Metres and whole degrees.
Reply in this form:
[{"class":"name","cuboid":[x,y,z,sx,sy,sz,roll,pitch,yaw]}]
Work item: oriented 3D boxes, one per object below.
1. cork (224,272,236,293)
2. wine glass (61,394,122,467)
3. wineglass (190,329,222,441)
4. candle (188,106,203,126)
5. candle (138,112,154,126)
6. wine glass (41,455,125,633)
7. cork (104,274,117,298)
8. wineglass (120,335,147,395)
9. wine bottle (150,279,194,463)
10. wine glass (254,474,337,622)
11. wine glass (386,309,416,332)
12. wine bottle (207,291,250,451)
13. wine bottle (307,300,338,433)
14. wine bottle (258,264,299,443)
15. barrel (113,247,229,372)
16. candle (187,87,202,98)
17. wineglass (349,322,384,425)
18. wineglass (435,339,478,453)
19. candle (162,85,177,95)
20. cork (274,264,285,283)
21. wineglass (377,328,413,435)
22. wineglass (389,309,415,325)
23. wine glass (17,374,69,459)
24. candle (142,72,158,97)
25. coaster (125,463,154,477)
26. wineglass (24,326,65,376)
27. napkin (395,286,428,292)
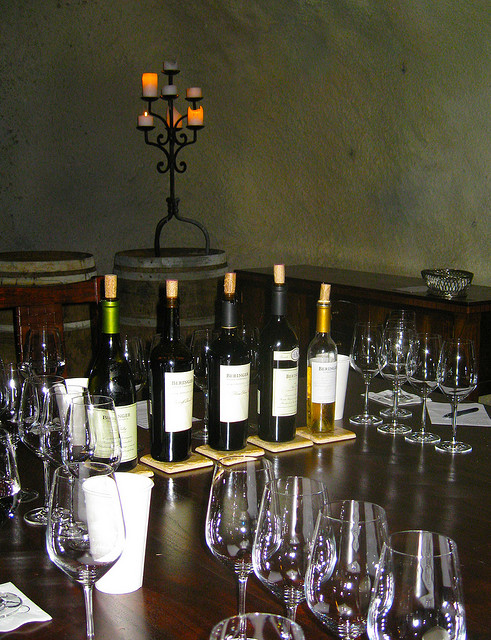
[{"class":"cork","cuboid":[-0.026,-0.063,1.028,0.016,0.034,0.043,1,1,4]},{"class":"wine glass","cuboid":[-0.206,0.174,0.851,0.066,0.129,0.080,9,-35,-30]},{"class":"wineglass","cuboid":[-0.084,0.129,1.308,0.061,0.220,0.070,7,16,22]},{"class":"candle","cuboid":[-0.255,-1.037,3.158,0.065,0.108,0.079,0,5,-6]},{"class":"candle","cuboid":[-0.519,-1.047,3.216,0.059,0.096,0.073,4,18,4]},{"class":"wine glass","cuboid":[-0.142,0.209,0.549,0.077,0.153,0.061,2,1,39]},{"class":"cork","cuboid":[-0.213,-0.055,0.978,0.014,0.038,0.067,1,1,-10]},{"class":"wineglass","cuboid":[-0.226,0.081,1.263,0.047,0.124,0.052,-6,11,-33]},{"class":"wine bottle","cuboid":[-0.122,0.086,1.015,0.068,0.300,0.122,1,1,-7]},{"class":"wine glass","cuboid":[0.044,0.238,0.567,0.059,0.215,0.074,-1,6,-15]},{"class":"wine glass","cuboid":[0.419,-0.001,1.661,0.064,0.084,0.068,3,6,38]},{"class":"wine bottle","cuboid":[-0.028,0.076,1.042,0.060,0.290,0.066,1,19,0]},{"class":"wine bottle","cuboid":[0.149,0.076,1.181,0.047,0.254,0.053,-9,19,-23]},{"class":"wine bottle","cuboid":[0.058,0.059,1.120,0.059,0.322,0.066,5,8,31]},{"class":"barrel","cuboid":[-0.345,-0.054,2.919,0.384,0.606,0.468,-1,1,-1]},{"class":"candle","cuboid":[-0.268,-1.185,3.219,0.066,0.064,0.073,3,7,31]},{"class":"wineglass","cuboid":[0.267,0.113,1.363,0.067,0.231,0.076,-4,10,-10]},{"class":"wineglass","cuboid":[0.412,0.148,1.215,0.062,0.227,0.068,-7,12,-26]},{"class":"candle","cuboid":[-0.378,-1.148,3.077,0.067,0.055,0.071,-9,21,-34]},{"class":"cork","cuboid":[0.059,-0.082,1.076,0.015,0.033,0.040,1,1,-3]},{"class":"wineglass","cuboid":[0.327,0.126,1.323,0.060,0.221,0.075,-2,7,-11]},{"class":"wineglass","cuboid":[0.455,-0.010,1.795,0.058,0.078,0.068,1,-1,21]},{"class":"wine glass","cuboid":[-0.305,0.147,0.933,0.060,0.208,0.079,4,10,-17]},{"class":"candle","cuboid":[-0.487,-1.202,3.148,0.071,0.153,0.101,1,1,-5]},{"class":"coaster","cuboid":[-0.171,0.242,1.000,0.039,0.008,0.076,1,1,-37]},{"class":"wineglass","cuboid":[-0.462,0.071,1.423,0.090,0.111,0.131,1,1,-21]},{"class":"napkin","cuboid":[0.850,-0.162,3.149,0.146,0.041,0.237,2,1,16]}]
